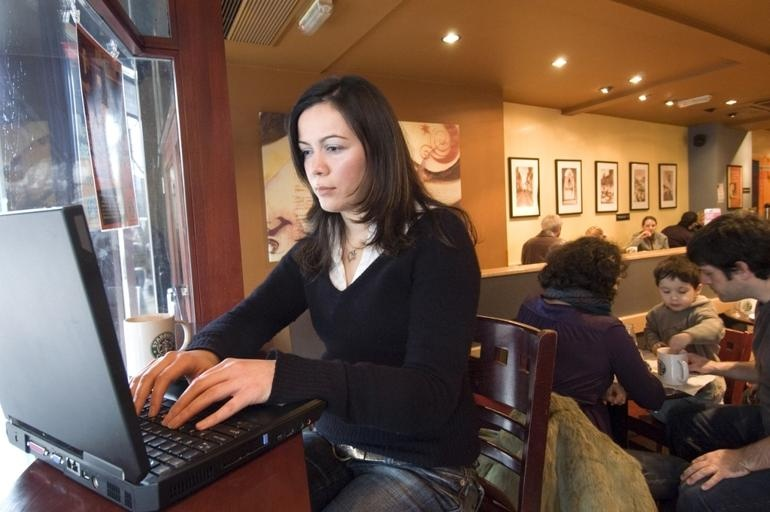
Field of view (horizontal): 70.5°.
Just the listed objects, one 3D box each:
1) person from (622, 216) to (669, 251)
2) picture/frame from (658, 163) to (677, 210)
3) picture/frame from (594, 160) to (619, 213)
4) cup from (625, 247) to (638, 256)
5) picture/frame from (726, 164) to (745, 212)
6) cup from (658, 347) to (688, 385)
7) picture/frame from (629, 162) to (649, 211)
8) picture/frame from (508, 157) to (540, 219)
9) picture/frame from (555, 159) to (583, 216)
[{"bbox_3d":[3.424,-0.292,7.214,0.440,0.720,0.372,-6,-22,37],"label":"person"},{"bbox_3d":[4.376,-1.100,8.445,0.040,1.009,0.718,-2,-1,43],"label":"picture/frame"},{"bbox_3d":[3.059,-0.975,7.545,0.721,1.018,0.041,-1,0,-45],"label":"picture/frame"},{"bbox_3d":[2.679,-0.050,5.901,0.111,0.051,0.150,6,8,45],"label":"cup"},{"bbox_3d":[5.721,-1.127,8.887,0.167,0.724,0.754,7,11,42],"label":"picture/frame"},{"bbox_3d":[1.301,0.497,2.454,0.099,0.121,0.160,0,4,7],"label":"cup"},{"bbox_3d":[3.727,-1.047,7.996,0.043,0.984,0.697,0,1,44],"label":"picture/frame"},{"bbox_3d":[1.659,-0.824,6.544,0.034,0.927,0.740,-4,-4,42],"label":"picture/frame"},{"bbox_3d":[2.368,-0.904,7.054,0.045,1.141,0.804,1,4,44],"label":"picture/frame"}]
